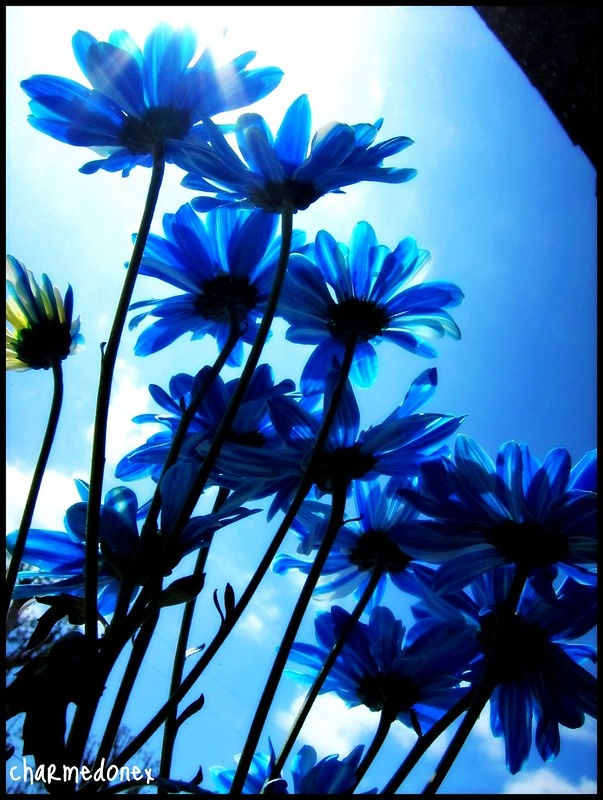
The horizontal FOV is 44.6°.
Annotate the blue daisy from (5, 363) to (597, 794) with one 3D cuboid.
[{"bbox_3d":[0.038,0.139,0.621,0.336,0.388,0.407,-1,-32,36],"label":"blue daisy"}]

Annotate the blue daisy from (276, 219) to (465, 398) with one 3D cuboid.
[{"bbox_3d":[0.071,-0.082,0.674,0.113,0.129,0.088,-31,-78,36],"label":"blue daisy"}]

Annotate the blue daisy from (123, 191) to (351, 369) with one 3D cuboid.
[{"bbox_3d":[-0.065,-0.108,0.670,0.160,0.114,0.199,-10,-1,-19],"label":"blue daisy"}]
